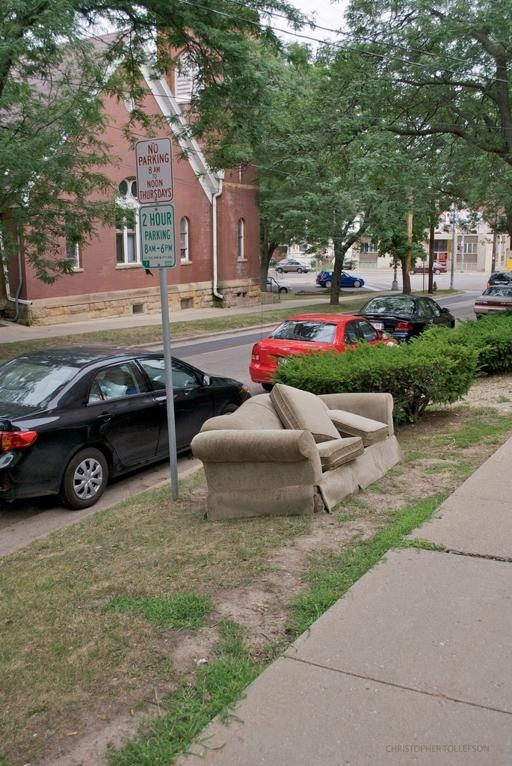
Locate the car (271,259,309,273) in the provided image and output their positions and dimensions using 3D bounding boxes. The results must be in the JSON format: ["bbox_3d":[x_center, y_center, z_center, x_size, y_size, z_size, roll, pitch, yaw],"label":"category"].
[{"bbox_3d":[4.479,-14.199,71.586,3.733,1.940,3.524,-3,4,15],"label":"car"}]

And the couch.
[{"bbox_3d":[0.532,0.542,5.905,1.174,1.111,2.733,-2,5,27],"label":"couch"}]

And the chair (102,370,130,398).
[{"bbox_3d":[-1.631,0.007,6.843,0.254,0.304,0.340,8,17,-5],"label":"chair"}]

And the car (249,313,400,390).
[{"bbox_3d":[1.157,-0.776,11.207,1.296,0.970,2.871,3,16,35],"label":"car"}]
